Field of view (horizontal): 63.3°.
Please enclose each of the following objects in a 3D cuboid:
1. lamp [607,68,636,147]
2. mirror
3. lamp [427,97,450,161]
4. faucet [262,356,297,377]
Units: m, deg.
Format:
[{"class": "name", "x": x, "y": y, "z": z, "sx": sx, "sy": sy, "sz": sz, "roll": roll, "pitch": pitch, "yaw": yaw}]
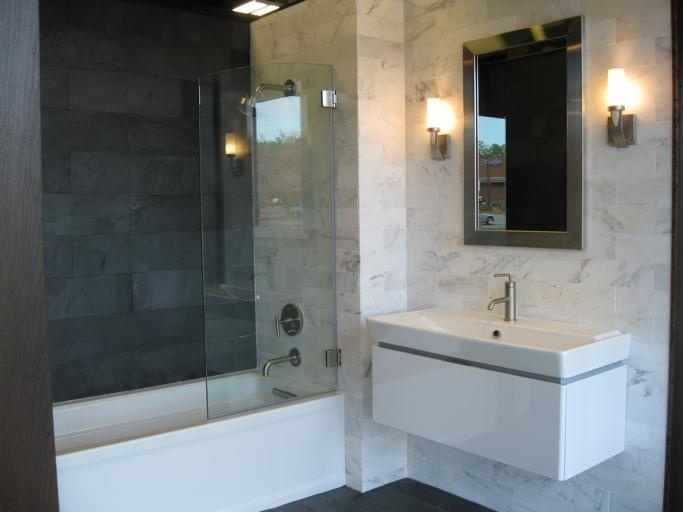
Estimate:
[{"class": "lamp", "x": 1.354, "y": -0.716, "z": 2.711, "sx": 0.119, "sy": 0.381, "sz": 0.133, "roll": -11, "pitch": 10, "yaw": -37}, {"class": "mirror", "x": 0.988, "y": -0.652, "z": 3.082, "sx": 0.661, "sy": 1.208, "sz": 0.059, "roll": 1, "pitch": -1, "yaw": 33}, {"class": "lamp", "x": 0.595, "y": -0.773, "z": 3.395, "sx": 0.134, "sy": 0.382, "sz": 0.131, "roll": -2, "pitch": 5, "yaw": 8}, {"class": "faucet", "x": -0.363, "y": 0.685, "z": 3.394, "sx": 0.250, "sy": 0.109, "sz": 0.080, "roll": 2, "pitch": -5, "yaw": -40}]
